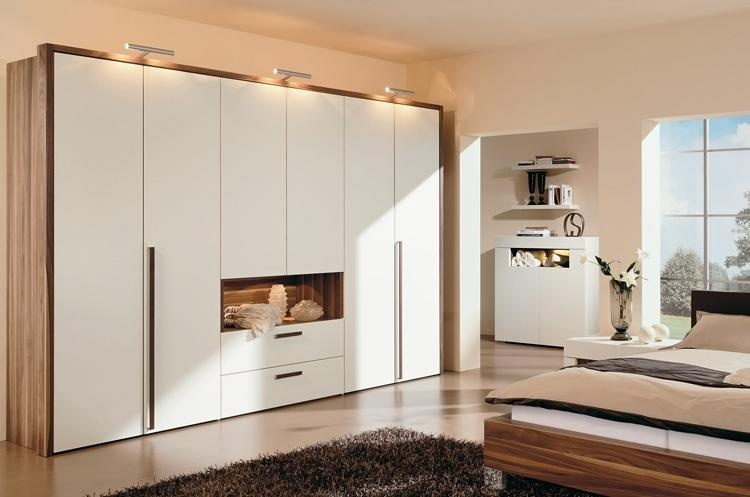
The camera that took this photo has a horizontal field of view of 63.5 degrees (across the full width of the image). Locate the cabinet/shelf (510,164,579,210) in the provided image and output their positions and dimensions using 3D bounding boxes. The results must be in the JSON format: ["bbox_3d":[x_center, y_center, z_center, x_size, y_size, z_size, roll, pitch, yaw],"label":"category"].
[{"bbox_3d":[2.392,-0.839,8.439,0.359,0.534,0.874,-2,4,-39],"label":"cabinet/shelf"}]

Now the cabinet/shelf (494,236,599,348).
[{"bbox_3d":[2.285,0.573,7.891,1.674,1.607,0.588,0,-3,33],"label":"cabinet/shelf"}]

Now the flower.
[{"bbox_3d":[2.301,0.279,5.722,0.609,0.492,0.605,-14,12,-35],"label":"flower"}]

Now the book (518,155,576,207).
[{"bbox_3d":[2.413,-0.934,8.360,0.874,0.612,0.280,0,-3,27],"label":"book"}]

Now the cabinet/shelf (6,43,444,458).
[{"bbox_3d":[-1.357,0.073,5.141,4.183,2.523,0.782,-1,0,-42],"label":"cabinet/shelf"}]
